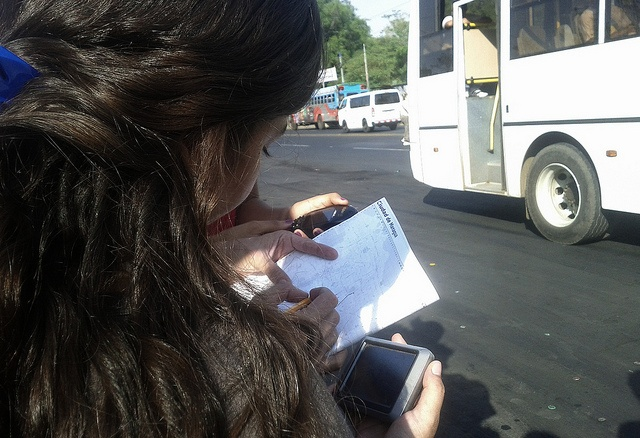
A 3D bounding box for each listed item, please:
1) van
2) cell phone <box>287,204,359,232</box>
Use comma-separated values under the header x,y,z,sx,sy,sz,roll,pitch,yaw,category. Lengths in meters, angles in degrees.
x,y,z,sx,sy,sz,roll,pitch,yaw,category
2.478,-5.480,24.476,1.548,1.661,3.296,-7,19,-20,van
0.009,-0.004,2.191,0.255,0.073,0.127,-18,33,10,cell phone
